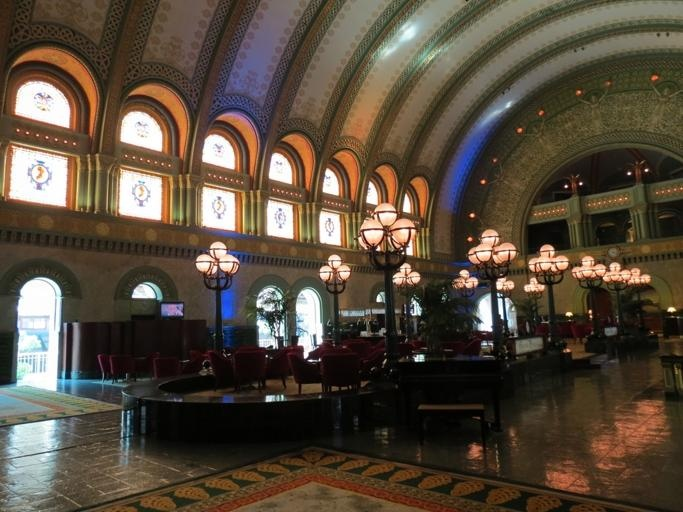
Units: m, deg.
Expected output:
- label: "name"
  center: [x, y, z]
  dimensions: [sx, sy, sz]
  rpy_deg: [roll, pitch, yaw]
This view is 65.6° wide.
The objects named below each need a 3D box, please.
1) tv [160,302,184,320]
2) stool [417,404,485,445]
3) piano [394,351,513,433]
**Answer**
- label: "tv"
  center: [-5.464, 1.726, 17.211]
  dimensions: [0.902, 0.604, 0.474]
  rpy_deg: [3, -2, -34]
- label: "stool"
  center: [1.554, 2.354, 7.413]
  dimensions: [0.908, 0.486, 0.329]
  rpy_deg: [-3, -8, 11]
- label: "piano"
  center: [1.666, 2.401, 8.338]
  dimensions: [1.670, 1.049, 1.144]
  rpy_deg: [-2, -24, 6]
